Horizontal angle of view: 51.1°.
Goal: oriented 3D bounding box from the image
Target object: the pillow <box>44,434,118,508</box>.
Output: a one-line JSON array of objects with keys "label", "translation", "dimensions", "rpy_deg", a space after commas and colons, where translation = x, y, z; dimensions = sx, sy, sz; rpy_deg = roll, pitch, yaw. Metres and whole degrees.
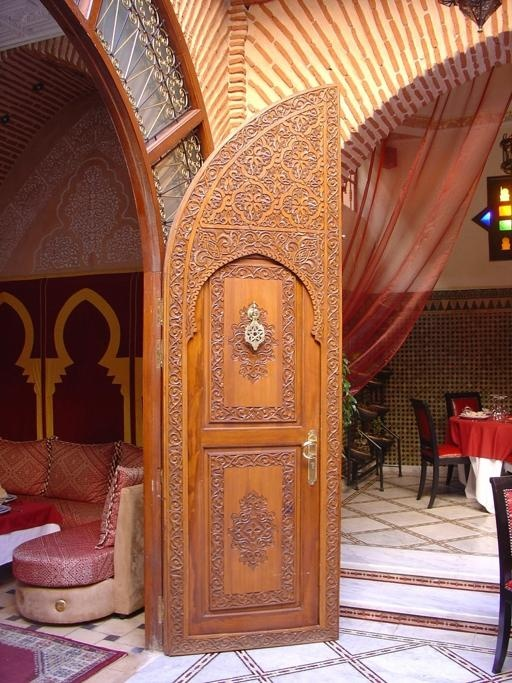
[{"label": "pillow", "translation": [-1.229, 0.926, 3.745], "dimensions": [0.421, 0.333, 0.151], "rpy_deg": [3, -27, 27]}]

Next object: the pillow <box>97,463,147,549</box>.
[{"label": "pillow", "translation": [-0.729, 0.866, 2.805], "dimensions": [0.133, 0.352, 0.349], "rpy_deg": [9, 14, -1]}]

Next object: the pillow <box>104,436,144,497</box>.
[{"label": "pillow", "translation": [-0.895, 0.854, 3.692], "dimensions": [0.104, 0.336, 0.346], "rpy_deg": [15, -6, -30]}]
